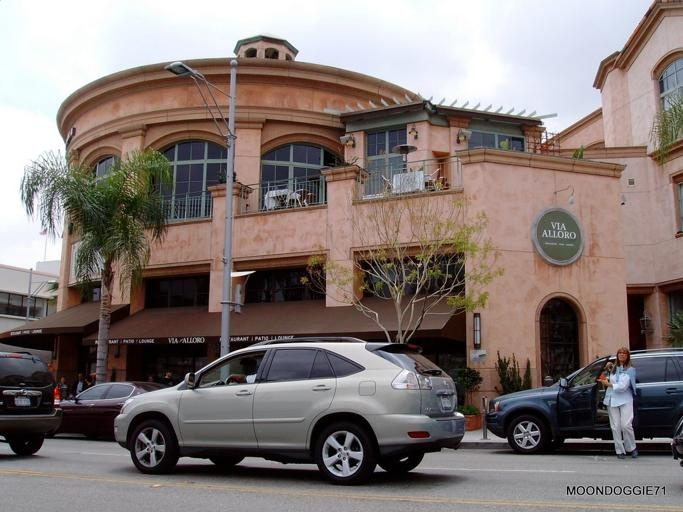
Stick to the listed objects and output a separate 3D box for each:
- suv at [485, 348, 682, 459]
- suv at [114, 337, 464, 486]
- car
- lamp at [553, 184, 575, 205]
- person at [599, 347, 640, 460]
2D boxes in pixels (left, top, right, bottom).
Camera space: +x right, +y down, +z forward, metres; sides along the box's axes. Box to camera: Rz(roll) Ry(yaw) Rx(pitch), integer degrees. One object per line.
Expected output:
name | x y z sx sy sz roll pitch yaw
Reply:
suv | 5.689 3.489 15.909 4.170 1.751 2.065 -5 -13 23
suv | -0.813 2.569 12.673 5.528 2.235 2.648 -1 -12 18
car | -6.836 4.518 19.910 3.572 1.276 1.741 -2 -11 23
lamp | 8.144 -2.202 24.470 0.836 0.745 0.234 0 -2 -26
person | 5.987 3.179 14.589 0.707 2.341 0.584 -2 -2 22
